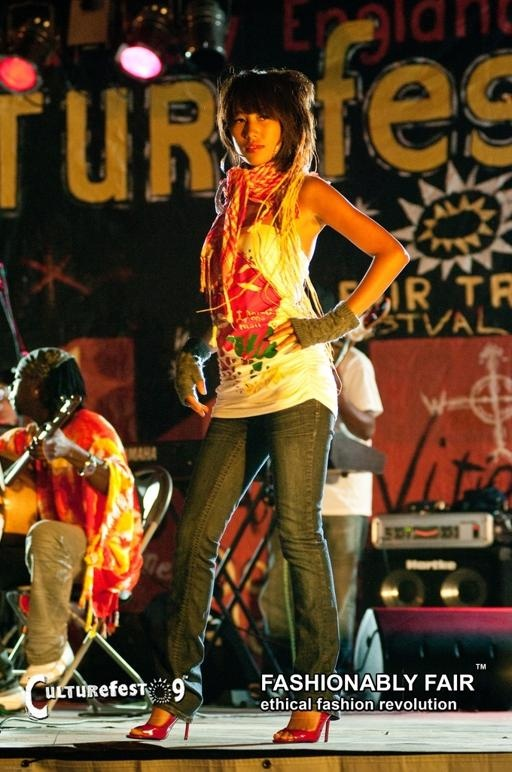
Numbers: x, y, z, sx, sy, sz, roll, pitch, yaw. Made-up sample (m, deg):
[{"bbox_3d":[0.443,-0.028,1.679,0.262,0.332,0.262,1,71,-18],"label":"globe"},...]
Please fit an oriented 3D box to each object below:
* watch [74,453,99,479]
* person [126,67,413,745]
[{"bbox_3d":[-0.477,0.223,2.275,0.053,0.024,0.068,37,20,-2],"label":"watch"},{"bbox_3d":[0.052,0.010,1.806,0.499,1.469,0.567,4,10,20],"label":"person"}]
